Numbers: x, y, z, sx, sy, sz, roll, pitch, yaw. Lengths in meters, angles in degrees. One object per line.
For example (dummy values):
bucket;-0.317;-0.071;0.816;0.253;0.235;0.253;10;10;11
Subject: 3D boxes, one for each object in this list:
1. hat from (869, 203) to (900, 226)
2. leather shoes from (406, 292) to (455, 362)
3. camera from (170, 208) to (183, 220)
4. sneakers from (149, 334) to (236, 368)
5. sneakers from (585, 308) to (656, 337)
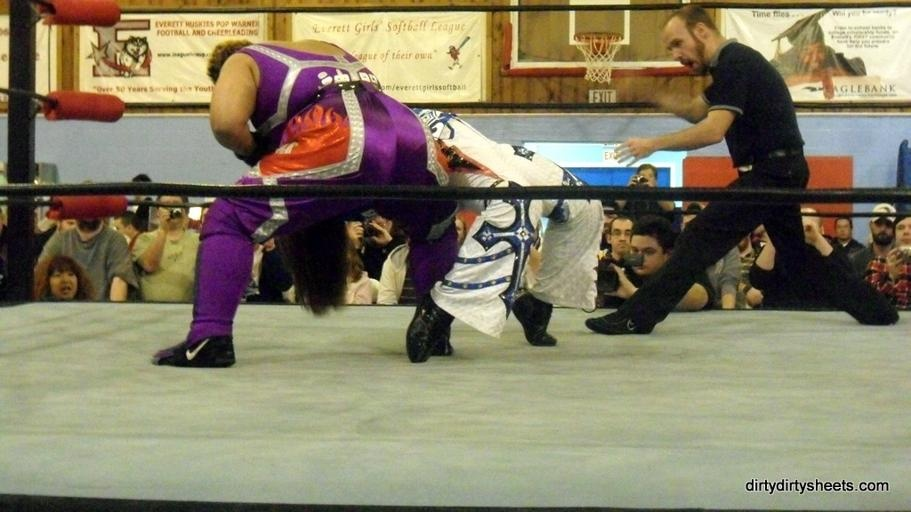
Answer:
hat;3.157;-0.305;7.633;0.178;0.106;0.228;0;-9;18
leather shoes;-0.129;0.420;5.895;0.217;0.458;0.188;-10;-35;43
camera;-2.117;-0.319;7.820;0.091;0.074;0.089;25;-9;-18
sneakers;-1.435;0.537;5.765;0.469;0.158;0.181;1;-6;6
sneakers;1.034;0.425;6.585;0.470;0.160;0.154;3;-10;3
